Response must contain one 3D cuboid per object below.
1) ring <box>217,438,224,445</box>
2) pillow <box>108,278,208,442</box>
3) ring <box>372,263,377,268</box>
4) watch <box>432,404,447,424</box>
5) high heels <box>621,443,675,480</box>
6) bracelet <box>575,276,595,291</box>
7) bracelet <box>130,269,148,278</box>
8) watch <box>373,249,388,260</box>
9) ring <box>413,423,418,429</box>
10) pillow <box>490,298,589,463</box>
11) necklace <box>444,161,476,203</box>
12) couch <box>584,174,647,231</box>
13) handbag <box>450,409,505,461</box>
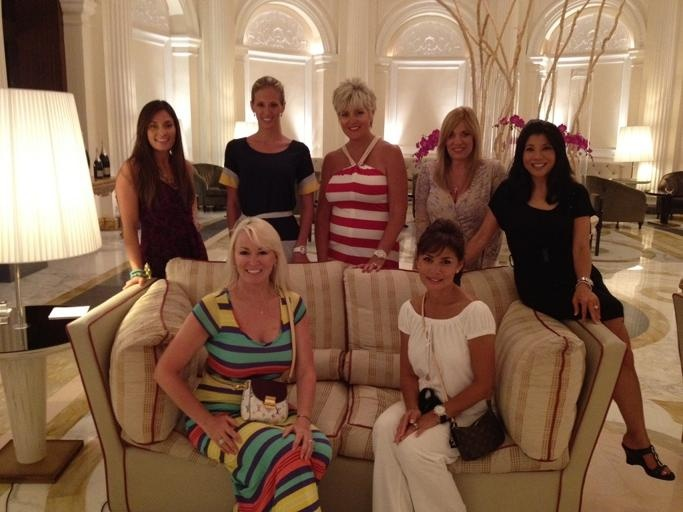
[{"bbox_3d":[-0.493,0.760,2.015,0.025,0.026,0.007,1,-5,5],"label":"ring"},{"bbox_3d":[-0.864,0.472,2.236,0.220,0.553,0.547,0,-24,10],"label":"pillow"},{"bbox_3d":[0.195,0.057,2.870,0.024,0.026,0.009,0,-30,-5],"label":"ring"},{"bbox_3d":[0.431,0.690,2.150,0.051,0.069,0.070,-9,27,-11],"label":"watch"},{"bbox_3d":[1.624,1.106,2.626,0.283,0.159,0.101,14,49,36],"label":"high heels"},{"bbox_3d":[1.223,0.140,2.458,0.057,0.041,0.065,4,3,-1],"label":"bracelet"},{"bbox_3d":[-1.166,0.104,2.805,0.058,0.026,0.061,-1,8,-5],"label":"bracelet"},{"bbox_3d":[0.230,-0.009,2.944,0.066,0.047,0.068,2,-8,10],"label":"watch"},{"bbox_3d":[0.321,0.742,2.145,0.016,0.031,0.022,20,31,20],"label":"ring"},{"bbox_3d":[0.912,0.577,2.302,0.377,0.524,0.491,1,15,2],"label":"pillow"},{"bbox_3d":[0.727,-0.450,3.050,0.137,0.238,0.054,3,-2,27],"label":"necklace"},{"bbox_3d":[4.623,-0.930,8.476,0.941,0.981,1.066,-4,16,-3],"label":"couch"},{"bbox_3d":[0.579,0.785,2.129,0.152,0.167,0.062,-20,-2,-21],"label":"handbag"}]
